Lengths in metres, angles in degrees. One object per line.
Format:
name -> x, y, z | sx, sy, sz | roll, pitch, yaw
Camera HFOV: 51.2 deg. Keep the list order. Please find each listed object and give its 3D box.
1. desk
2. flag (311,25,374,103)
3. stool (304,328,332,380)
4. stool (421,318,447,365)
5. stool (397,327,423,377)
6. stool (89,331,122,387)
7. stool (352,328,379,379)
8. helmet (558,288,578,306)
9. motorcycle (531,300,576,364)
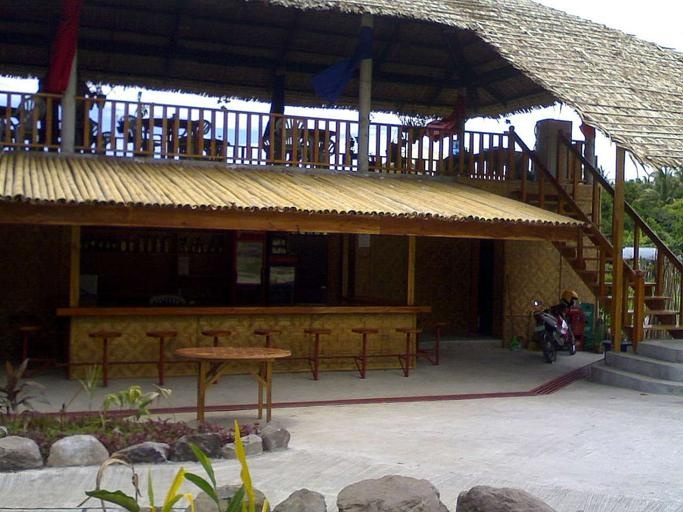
desk -> -1.402, 1.745, 9.271 | 1.444, 0.874, 1.451 | -1, -6, 12
flag -> 0.102, -3.900, 14.519 | 1.289, 1.103, 0.715 | -4, -5, 26
stool -> -0.417, 1.673, 12.134 | 0.426, 0.879, 0.926 | -1, -5, -5
stool -> 1.831, 1.865, 14.752 | 0.654, 0.686, 0.646 | 2, -1, -6
stool -> 1.163, 1.709, 12.557 | 0.613, 0.829, 0.559 | 4, -1, -9
stool -> -3.673, 1.601, 11.058 | 0.446, 0.852, 0.869 | 0, -5, -20
stool -> 0.408, 1.699, 12.469 | 0.445, 0.861, 0.913 | -1, -5, 0
helmet -> 4.744, 0.895, 14.971 | 0.447, 0.397, 0.331 | 0, 1, 0
motorcycle -> 4.246, 1.561, 14.303 | 0.538, 1.135, 1.040 | -4, -6, 32
